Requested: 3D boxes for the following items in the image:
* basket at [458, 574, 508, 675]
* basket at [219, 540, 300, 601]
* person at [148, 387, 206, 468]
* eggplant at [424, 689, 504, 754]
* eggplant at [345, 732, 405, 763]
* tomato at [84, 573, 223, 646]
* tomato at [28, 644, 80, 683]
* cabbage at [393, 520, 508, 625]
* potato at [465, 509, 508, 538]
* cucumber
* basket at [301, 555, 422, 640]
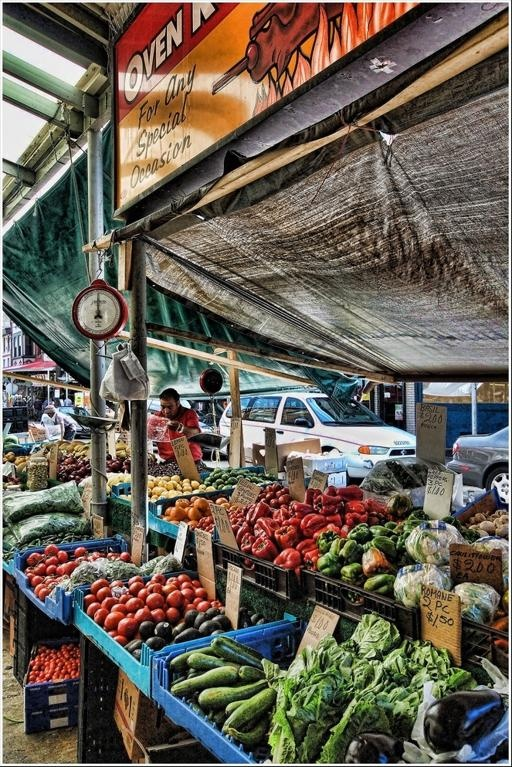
[{"bbox_3d":[0.777,0.806,1.765,0.133,0.271,0.163,-6,8,-41],"label":"basket"},{"bbox_3d":[-0.030,0.959,2.738,0.099,0.182,0.746,17,-7,-33],"label":"basket"},{"bbox_3d":[-0.973,0.472,6.016,0.558,1.028,0.559,5,3,33],"label":"person"},{"bbox_3d":[0.611,0.966,1.486,0.260,0.150,0.120,14,-6,-13],"label":"eggplant"},{"bbox_3d":[0.316,0.983,1.431,0.111,0.050,0.084,-2,11,-21],"label":"eggplant"},{"bbox_3d":[-0.560,1.227,2.868,0.386,0.115,0.391,10,11,41],"label":"tomato"},{"bbox_3d":[-1.471,2.065,3.871,0.387,0.122,0.369,1,-4,-24],"label":"tomato"},{"bbox_3d":[0.740,0.705,2.013,0.295,0.160,0.379,8,23,40],"label":"cabbage"},{"bbox_3d":[1.400,0.863,3.237,0.266,0.112,0.204,4,38,24],"label":"potato"},{"bbox_3d":[-0.103,1.136,1.951,0.253,0.224,0.271,4,3,32],"label":"cucumber"},{"bbox_3d":[0.441,0.870,2.140,0.299,0.100,0.423,9,-8,-35],"label":"basket"}]
